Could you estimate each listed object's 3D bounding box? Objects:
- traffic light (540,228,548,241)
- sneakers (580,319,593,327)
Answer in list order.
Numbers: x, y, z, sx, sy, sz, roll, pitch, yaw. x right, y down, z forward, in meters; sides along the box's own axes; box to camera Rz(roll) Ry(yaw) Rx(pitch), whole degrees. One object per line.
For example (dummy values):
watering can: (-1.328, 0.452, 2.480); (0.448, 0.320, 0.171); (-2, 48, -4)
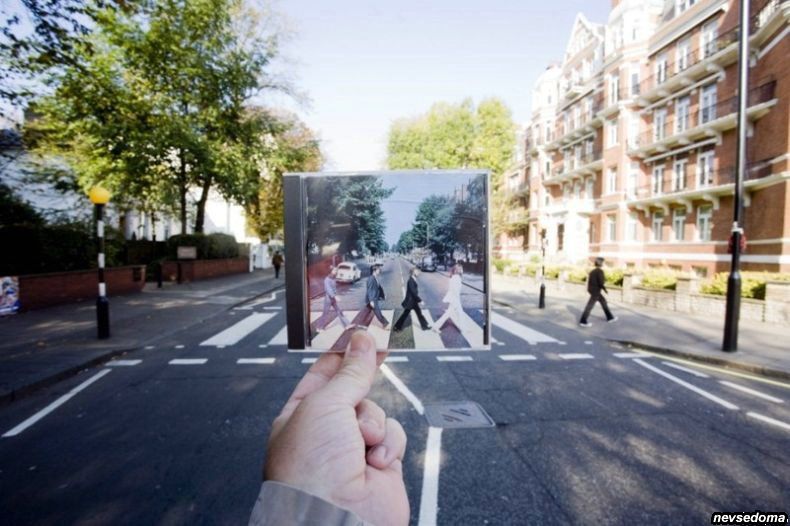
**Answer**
traffic light: (6.678, -1.202, 22.900); (0.157, 0.524, 0.640); (0, 3, 10)
sneakers: (6.570, 2.102, 17.567); (0.387, 0.284, 0.179); (-1, 7, -12)
